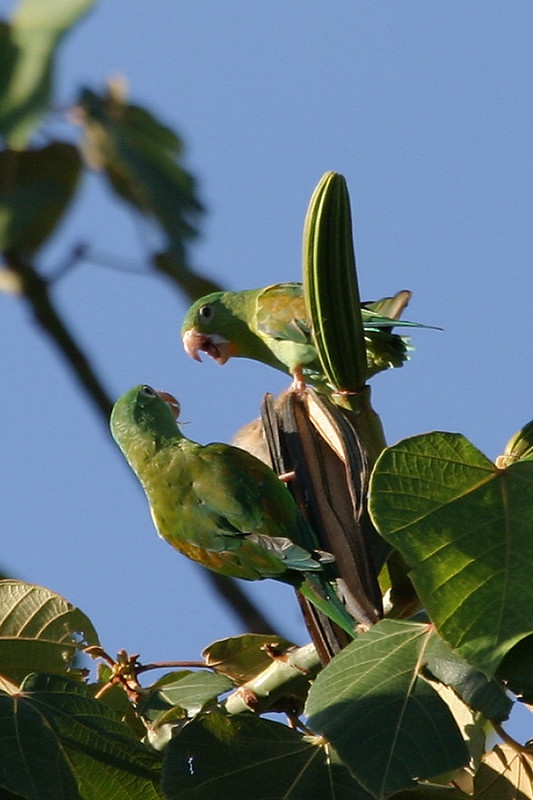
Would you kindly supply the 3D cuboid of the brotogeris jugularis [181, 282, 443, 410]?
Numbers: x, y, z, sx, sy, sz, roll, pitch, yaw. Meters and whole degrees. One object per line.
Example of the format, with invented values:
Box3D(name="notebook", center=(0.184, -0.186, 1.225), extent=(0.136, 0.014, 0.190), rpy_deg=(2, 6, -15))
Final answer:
Box3D(name="brotogeris jugularis", center=(0.089, -0.107, 2.974), extent=(0.431, 0.198, 0.140), rpy_deg=(-10, -20, -1))
